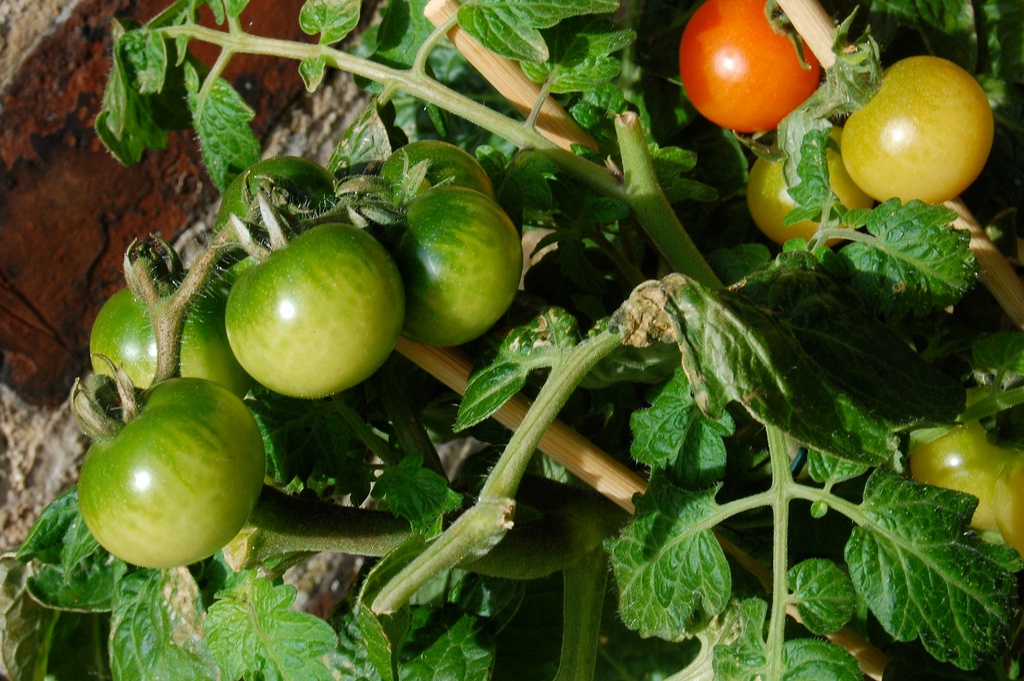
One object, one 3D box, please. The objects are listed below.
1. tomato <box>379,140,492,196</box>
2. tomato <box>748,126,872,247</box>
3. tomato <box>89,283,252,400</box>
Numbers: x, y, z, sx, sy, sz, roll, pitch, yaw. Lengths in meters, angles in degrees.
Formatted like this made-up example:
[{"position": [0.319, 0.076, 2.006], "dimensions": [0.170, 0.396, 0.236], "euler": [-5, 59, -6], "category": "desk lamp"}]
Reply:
[{"position": [-0.064, -0.157, 0.993], "dimensions": [0.070, 0.045, 0.054], "euler": [13, 11, -37], "category": "tomato"}, {"position": [0.285, -0.132, 1.104], "dimensions": [0.102, 0.128, 0.113], "euler": [19, 78, 26], "category": "tomato"}, {"position": [-0.308, -0.001, 0.977], "dimensions": [0.113, 0.079, 0.100], "euler": [19, 44, 12], "category": "tomato"}]
